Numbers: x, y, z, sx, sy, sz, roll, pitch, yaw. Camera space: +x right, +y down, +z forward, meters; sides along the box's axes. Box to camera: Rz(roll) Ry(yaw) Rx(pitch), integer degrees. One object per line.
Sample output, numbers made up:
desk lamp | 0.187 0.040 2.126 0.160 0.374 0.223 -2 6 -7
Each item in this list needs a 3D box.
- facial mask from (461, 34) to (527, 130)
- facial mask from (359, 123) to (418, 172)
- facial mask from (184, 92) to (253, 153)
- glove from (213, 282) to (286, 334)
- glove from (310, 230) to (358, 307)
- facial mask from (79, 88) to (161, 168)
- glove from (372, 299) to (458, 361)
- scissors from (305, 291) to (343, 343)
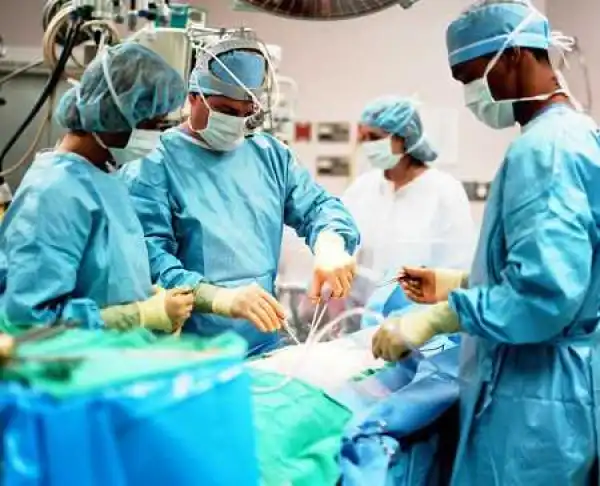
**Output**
facial mask | 0.557 -0.464 1.666 0.107 0.199 0.165 18 30 13
facial mask | 0.462 -0.490 2.979 0.219 0.173 0.264 30 25 25
facial mask | -0.288 -0.405 1.998 0.197 0.133 0.171 36 20 30
glove | -0.140 0.151 1.728 0.178 0.060 0.136 26 20 29
glove | 0.112 0.082 1.954 0.173 0.203 0.291 -1 22 4
facial mask | -0.494 -0.304 1.598 0.153 0.138 0.168 19 29 -19
glove | 0.282 0.231 1.473 0.196 0.102 0.137 -23 14 5
scissors | 0.076 0.252 1.972 0.068 0.031 0.218 37 45 -18
